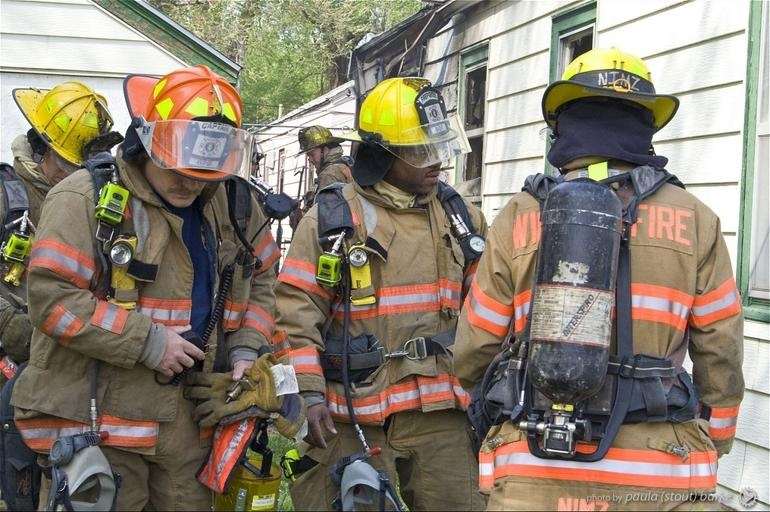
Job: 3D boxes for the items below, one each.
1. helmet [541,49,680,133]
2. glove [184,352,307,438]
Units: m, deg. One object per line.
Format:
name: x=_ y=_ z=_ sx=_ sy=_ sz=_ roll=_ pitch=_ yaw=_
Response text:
helmet: x=1.297 y=-0.922 z=4.225 sx=0.625 sy=0.302 sz=0.550 roll=17 pitch=-17 yaw=-27
glove: x=-0.821 y=0.843 z=4.512 sx=0.595 sy=0.366 sz=0.561 roll=13 pitch=-43 yaw=3
